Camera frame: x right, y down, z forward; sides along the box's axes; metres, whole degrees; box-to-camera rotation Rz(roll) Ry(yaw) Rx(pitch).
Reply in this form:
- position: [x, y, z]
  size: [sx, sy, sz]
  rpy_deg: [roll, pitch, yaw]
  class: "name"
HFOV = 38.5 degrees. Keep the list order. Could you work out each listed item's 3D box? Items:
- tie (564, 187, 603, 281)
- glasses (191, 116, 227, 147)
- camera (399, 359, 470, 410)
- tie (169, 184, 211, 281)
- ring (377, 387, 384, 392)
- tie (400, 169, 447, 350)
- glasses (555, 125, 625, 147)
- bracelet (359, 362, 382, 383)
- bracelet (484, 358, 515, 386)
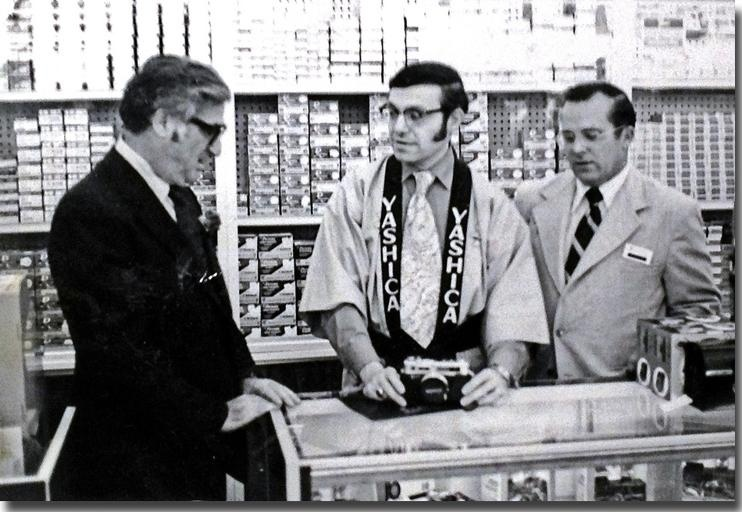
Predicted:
- position: [0.921, -0.101, 4.646]
  size: [0.181, 0.399, 0.042]
  rpy_deg: [-2, 2, -21]
  class: "tie"
- position: [-0.695, -0.542, 4.523]
  size: [0.117, 0.036, 0.113]
  rpy_deg: [34, 12, 31]
  class: "glasses"
- position: [0.263, 0.505, 4.401]
  size: [0.283, 0.185, 0.161]
  rpy_deg: [0, 10, 7]
  class: "camera"
- position: [-0.772, -0.106, 4.540]
  size: [0.082, 0.374, 0.210]
  rpy_deg: [-7, -5, 15]
  class: "tie"
- position: [0.033, 0.535, 4.297]
  size: [0.033, 0.020, 0.023]
  rpy_deg: [-4, -7, 0]
  class: "ring"
- position: [0.203, 0.052, 4.467]
  size: [0.172, 0.648, 0.057]
  rpy_deg: [-1, 2, 6]
  class: "tie"
- position: [0.955, -0.527, 4.652]
  size: [0.285, 0.069, 0.055]
  rpy_deg: [-2, 2, -2]
  class: "glasses"
- position: [0.001, 0.472, 4.336]
  size: [0.062, 0.089, 0.104]
  rpy_deg: [-4, 3, -42]
  class: "bracelet"
- position: [0.549, 0.498, 4.425]
  size: [0.128, 0.082, 0.127]
  rpy_deg: [41, -7, -7]
  class: "bracelet"
